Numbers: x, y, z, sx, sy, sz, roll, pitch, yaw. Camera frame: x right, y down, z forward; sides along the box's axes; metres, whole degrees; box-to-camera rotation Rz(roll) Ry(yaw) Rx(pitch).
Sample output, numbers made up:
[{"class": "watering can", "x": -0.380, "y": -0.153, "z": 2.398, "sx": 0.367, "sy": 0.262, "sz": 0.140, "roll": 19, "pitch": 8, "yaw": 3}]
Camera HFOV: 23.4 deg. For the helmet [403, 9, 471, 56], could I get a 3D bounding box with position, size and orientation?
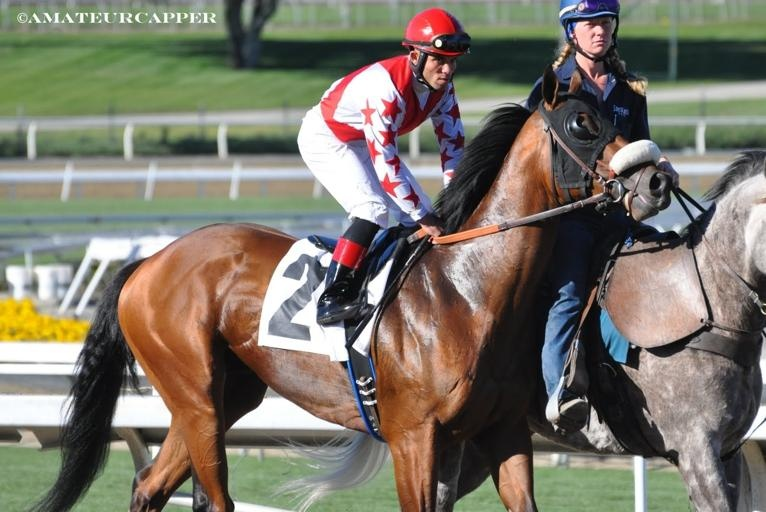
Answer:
[{"class": "helmet", "x": 0.489, "y": -2.172, "z": 18.178, "sx": 0.566, "sy": 0.286, "sz": 0.457, "roll": 11, "pitch": 10, "yaw": 34}]
